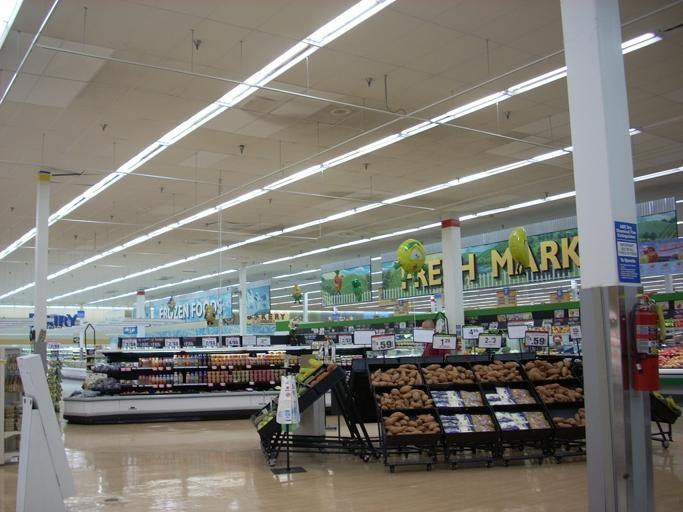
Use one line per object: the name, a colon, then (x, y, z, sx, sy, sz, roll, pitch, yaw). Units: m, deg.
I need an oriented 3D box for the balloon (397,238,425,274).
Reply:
balloon: (1.493, 0.053, 12.400, 0.667, 0.862, 0.616, -1, -6, -7)

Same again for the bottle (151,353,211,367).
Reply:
bottle: (-3.607, 2.344, 13.152, 1.362, 0.221, 0.312, -2, -8, -8)

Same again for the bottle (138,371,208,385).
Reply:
bottle: (-3.761, 2.713, 13.014, 1.485, 0.291, 0.259, 0, -10, -11)

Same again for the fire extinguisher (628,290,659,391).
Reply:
fire extinguisher: (2.952, 0.837, 5.642, 0.341, 0.936, 0.236, 6, -12, -39)

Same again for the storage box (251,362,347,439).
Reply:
storage box: (-0.654, 2.136, 8.635, 1.549, 1.022, 1.019, -5, -10, 16)

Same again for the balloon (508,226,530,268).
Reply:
balloon: (3.383, -0.192, 11.084, 0.334, 0.889, 1.091, -5, -10, 16)

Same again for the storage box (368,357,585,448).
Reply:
storage box: (2.019, 2.112, 8.453, 3.096, 1.229, 0.989, -1, -10, -5)
